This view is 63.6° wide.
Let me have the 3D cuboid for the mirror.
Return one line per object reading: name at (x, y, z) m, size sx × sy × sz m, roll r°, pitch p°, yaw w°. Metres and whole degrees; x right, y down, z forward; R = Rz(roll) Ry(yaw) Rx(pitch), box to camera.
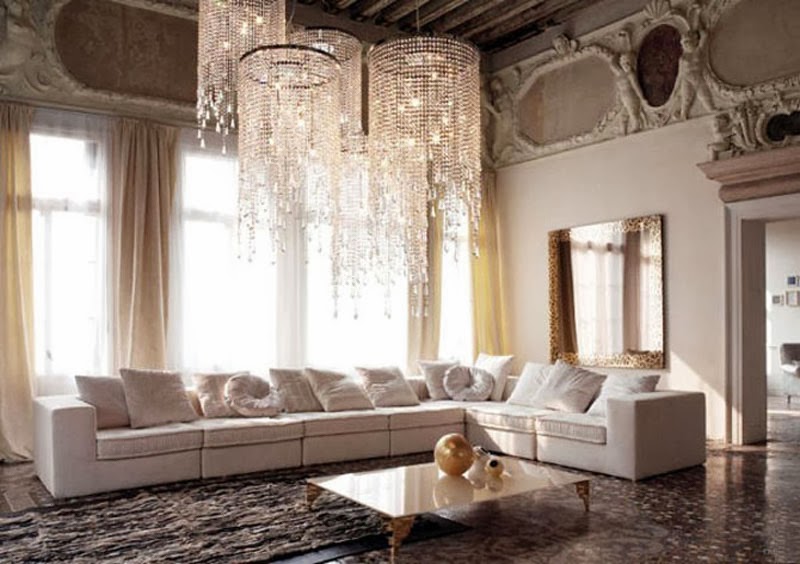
mirror at (2.892, 0.117, 8.713) m, size 0.118 × 2.300 × 2.108 m, roll 5°, pitch -7°, yaw -40°
